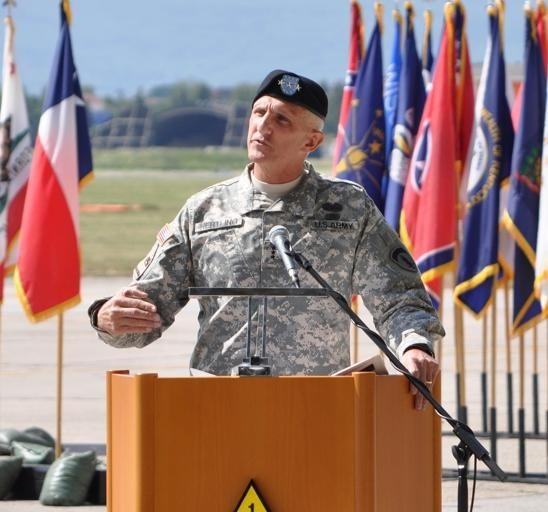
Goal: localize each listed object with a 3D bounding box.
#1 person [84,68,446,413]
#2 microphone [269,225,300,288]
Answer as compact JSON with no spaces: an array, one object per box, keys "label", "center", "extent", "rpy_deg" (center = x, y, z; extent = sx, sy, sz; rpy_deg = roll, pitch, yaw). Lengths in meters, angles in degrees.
[{"label":"person","center":[0.028,-0.203,8.955],"extent":[1.852,1.583,0.754],"rpy_deg":[1,0,0]},{"label":"microphone","center":[0.060,-0.001,8.442],"extent":[0.098,0.432,0.114],"rpy_deg":[-15,-38,3]}]
